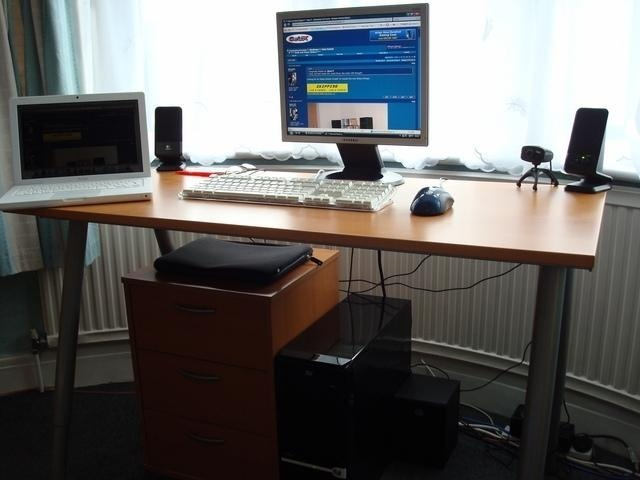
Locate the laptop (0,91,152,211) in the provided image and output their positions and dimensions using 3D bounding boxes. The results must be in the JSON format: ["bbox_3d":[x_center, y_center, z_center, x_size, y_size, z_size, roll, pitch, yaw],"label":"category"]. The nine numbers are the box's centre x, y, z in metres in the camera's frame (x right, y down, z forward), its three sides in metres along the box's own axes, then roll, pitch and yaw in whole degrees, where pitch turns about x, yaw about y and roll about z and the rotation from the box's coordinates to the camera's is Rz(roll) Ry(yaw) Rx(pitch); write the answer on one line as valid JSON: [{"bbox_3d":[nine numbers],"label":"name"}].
[{"bbox_3d":[-0.779,-0.283,1.642,0.441,0.321,0.270,-4,21,-9],"label":"laptop"}]
